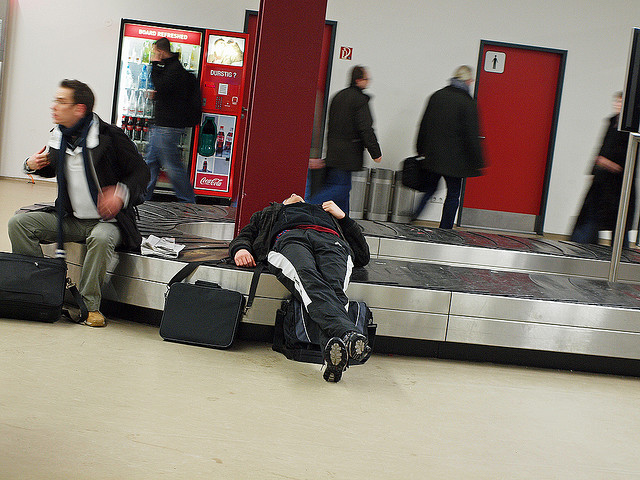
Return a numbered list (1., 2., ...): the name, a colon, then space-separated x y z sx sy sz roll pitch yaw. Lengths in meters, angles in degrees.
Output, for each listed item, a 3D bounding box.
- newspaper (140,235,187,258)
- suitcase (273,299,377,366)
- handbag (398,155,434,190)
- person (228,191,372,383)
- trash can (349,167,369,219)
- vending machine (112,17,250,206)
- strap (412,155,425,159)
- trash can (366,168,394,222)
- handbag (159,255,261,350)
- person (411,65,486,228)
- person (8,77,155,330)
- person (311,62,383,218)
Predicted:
1. newspaper: -1.081 0.026 3.641 0.276 0.092 0.419 5 12 -12
2. suitcase: 0.018 0.569 3.096 0.602 0.387 0.426 7 11 2
3. handbag: 1.207 -0.859 6.680 0.437 0.439 0.397 15 14 11
4. person: -0.089 0.157 3.425 0.959 0.515 1.795 7 32 -14
5. trash can: 0.557 -0.696 7.752 0.200 0.736 0.347 10 11 21
6. vending machine: -1.984 -2.164 7.307 1.819 3.024 1.104 3 15 -6
7. strap: 1.287 -1.076 6.790 0.126 0.022 0.014 -15 -18 42
8. trash can: 0.852 -0.672 7.756 0.349 0.736 0.248 8 11 6
9. handbag: -0.672 0.374 3.327 0.559 0.489 0.490 6 11 -6
10. person: 1.574 -1.117 6.373 0.783 1.901 0.319 11 11 20
11. person: -1.534 -0.234 3.399 0.820 1.535 0.607 3 11 -19
12. person: 0.328 -1.180 6.276 0.729 1.740 0.384 7 11 0
